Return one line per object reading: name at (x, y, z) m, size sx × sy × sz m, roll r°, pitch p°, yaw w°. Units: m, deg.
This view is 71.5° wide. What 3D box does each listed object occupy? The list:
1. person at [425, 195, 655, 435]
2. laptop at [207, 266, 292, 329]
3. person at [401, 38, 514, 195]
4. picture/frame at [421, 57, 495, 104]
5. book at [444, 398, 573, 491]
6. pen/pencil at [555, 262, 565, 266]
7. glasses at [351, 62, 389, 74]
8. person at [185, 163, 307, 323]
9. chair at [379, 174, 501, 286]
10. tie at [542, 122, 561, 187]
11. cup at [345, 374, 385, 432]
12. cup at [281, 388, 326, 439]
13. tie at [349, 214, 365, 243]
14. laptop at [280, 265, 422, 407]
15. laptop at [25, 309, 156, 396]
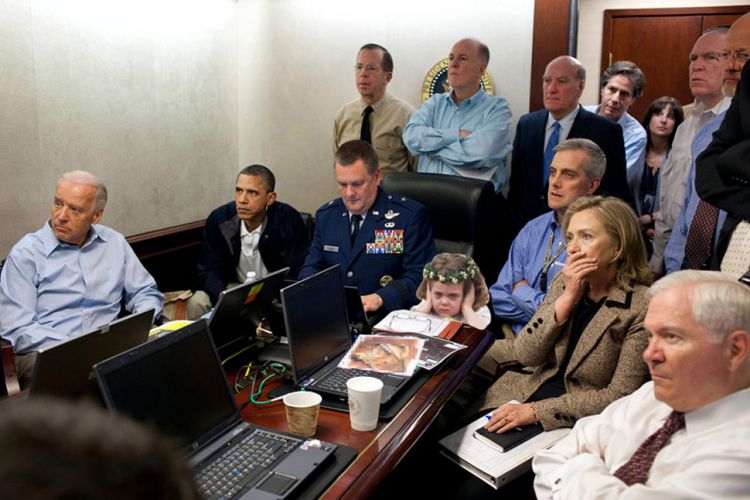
person at (0.756, 0.165, 2.485) m, size 0.970 × 1.105 × 0.839 m, roll -5°, pitch 12°, yaw -10°
laptop at (-0.517, 0.196, 2.136) m, size 0.220 × 0.222 × 0.328 m, roll -39°, pitch -7°, yaw 17°
person at (0.656, -1.013, 3.996) m, size 0.807 × 1.169 × 0.606 m, roll 18°, pitch 23°, yaw 42°
picture/frame at (0.665, -1.322, 4.052) m, size 0.451 × 0.487 × 0.024 m, roll 11°, pitch 6°, yaw 19°
book at (0.475, 0.731, 1.950) m, size 0.330 × 0.073 × 0.239 m, roll -24°, pitch 27°, yaw -36°
pen/pencil at (1.010, 0.074, 2.852) m, size 0.018 × 0.013 × 0.074 m, roll 1°, pitch 2°, yaw -38°
glasses at (-0.012, -1.436, 4.114) m, size 0.273 × 0.099 × 0.136 m, roll -2°, pitch 23°, yaw 2°
person at (-0.879, 0.086, 3.611) m, size 0.773 × 1.328 × 0.760 m, roll -2°, pitch 27°, yaw -20°
chair at (0.422, -0.262, 3.567) m, size 0.587 × 0.869 × 0.689 m, roll 5°, pitch 53°, yaw 17°
tie at (1.284, -0.748, 3.746) m, size 0.094 × 0.398 × 0.029 m, roll -1°, pitch 17°, yaw -37°
cup at (-0.037, 0.497, 1.724) m, size 0.141 × 0.157 × 0.147 m, roll 1°, pitch 3°, yaw 0°
cup at (-0.234, 0.523, 1.671) m, size 0.129 × 0.111 × 0.138 m, roll 0°, pitch 3°, yaw 0°
tie at (-0.108, -0.150, 3.218) m, size 0.047 × 0.230 × 0.057 m, roll 9°, pitch -20°, yaw 12°
laptop at (-0.079, 0.312, 2.057) m, size 0.414 × 0.380 × 0.508 m, roll 1°, pitch 7°, yaw 18°
laptop at (-1.006, 0.354, 1.804) m, size 0.235 × 0.221 × 0.339 m, roll 33°, pitch 20°, yaw 12°
